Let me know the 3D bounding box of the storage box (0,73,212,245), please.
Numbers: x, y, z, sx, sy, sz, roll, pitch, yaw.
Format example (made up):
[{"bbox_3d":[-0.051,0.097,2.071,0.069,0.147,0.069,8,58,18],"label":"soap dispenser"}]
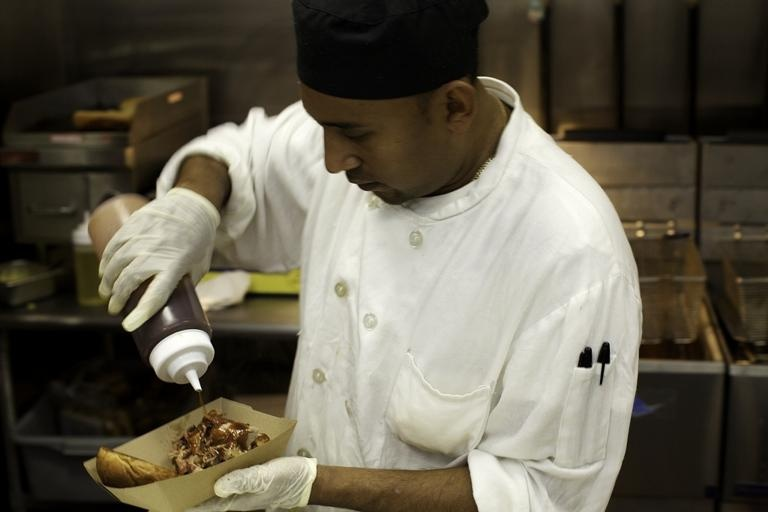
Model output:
[{"bbox_3d":[-1.436,-0.538,4.706,0.609,0.654,0.936,2,13,11],"label":"storage box"}]

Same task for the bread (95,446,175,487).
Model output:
[{"bbox_3d":[-0.799,0.674,2.860,0.133,0.070,0.150,3,1,-6],"label":"bread"}]
